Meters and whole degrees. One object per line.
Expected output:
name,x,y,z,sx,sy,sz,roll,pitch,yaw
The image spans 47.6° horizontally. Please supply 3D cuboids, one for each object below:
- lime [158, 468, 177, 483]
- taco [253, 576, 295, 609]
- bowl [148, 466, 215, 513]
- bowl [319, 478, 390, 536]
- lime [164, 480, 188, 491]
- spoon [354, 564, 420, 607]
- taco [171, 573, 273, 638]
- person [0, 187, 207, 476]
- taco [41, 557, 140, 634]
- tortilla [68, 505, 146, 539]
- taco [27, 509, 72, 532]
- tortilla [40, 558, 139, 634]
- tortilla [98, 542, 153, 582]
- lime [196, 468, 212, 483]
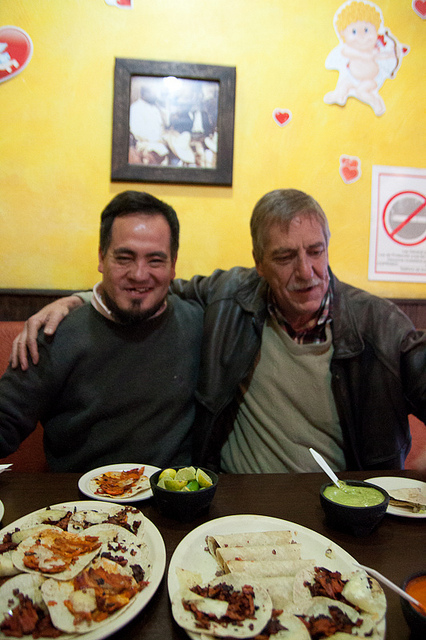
lime,-0.111,0.375,1.176,0.024,0.030,0.024,11,12,20
taco,0.119,0.481,0.860,0.077,0.027,0.103,2,1,4
bowl,-0.080,0.396,1.145,0.153,0.079,0.157,4,9,-1
bowl,0.317,0.435,1.111,0.154,0.082,0.159,2,1,0
lime,-0.085,0.379,1.119,0.041,0.017,0.052,5,4,41
spoon,0.323,0.457,0.811,0.209,0.024,0.022,30,32,-19
taco,0.009,0.460,0.801,0.150,0.044,0.103,-1,4,-41
person,-0.371,0.052,1.779,0.770,1.022,0.348,1,3,-28
taco,-0.203,0.448,0.806,0.098,0.051,0.129,0,2,-30
tortilla,-0.243,0.422,1.074,0.132,0.033,0.166,1,1,34
taco,-0.347,0.428,1.039,0.040,0.011,0.043,16,1,27
tortilla,-0.199,0.455,0.802,0.072,0.017,0.101,22,17,36
tortilla,-0.155,0.446,0.922,0.102,0.032,0.084,8,1,18
lime,-0.022,0.376,1.172,0.037,0.019,0.078,3,3,-1
